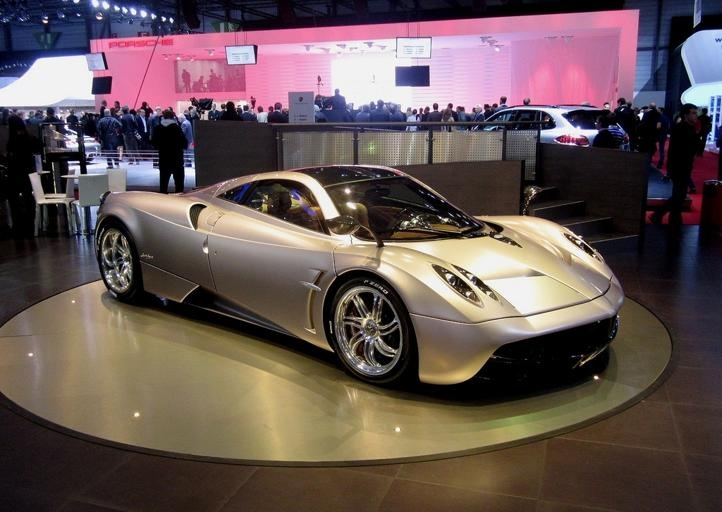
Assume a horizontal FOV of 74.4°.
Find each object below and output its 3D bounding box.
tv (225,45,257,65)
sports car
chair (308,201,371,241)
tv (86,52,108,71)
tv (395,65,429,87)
[{"bbox_3d":[-5.309,-9.056,21.229,1.473,0.848,0.575,6,13,28],"label":"tv"},{"bbox_3d":[-0.106,0.031,4.012,3.753,1.161,1.981,13,15,31],"label":"sports car"},{"bbox_3d":[-0.070,-0.272,3.605,0.364,0.162,0.289,17,36,17],"label":"chair"},{"bbox_3d":[-12.832,-9.531,23.102,1.490,0.989,0.201,9,25,27],"label":"tv"},{"bbox_3d":[1.921,-6.723,17.628,0.861,0.588,0.122,2,14,15],"label":"tv"}]
